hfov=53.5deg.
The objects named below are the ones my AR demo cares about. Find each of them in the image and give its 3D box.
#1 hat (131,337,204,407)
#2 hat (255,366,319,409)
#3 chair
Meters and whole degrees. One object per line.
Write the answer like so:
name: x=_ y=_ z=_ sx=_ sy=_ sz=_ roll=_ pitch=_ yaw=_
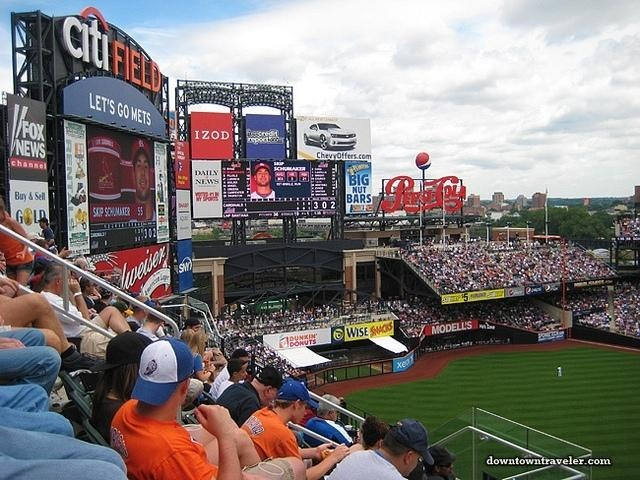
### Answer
hat: x=-1.758 y=1.440 z=7.342 sx=0.528 sy=0.413 sz=0.803 roll=13 pitch=39 yaw=8
hat: x=-0.437 y=2.154 z=9.044 sx=0.778 sy=0.285 sz=0.495 roll=24 pitch=14 yaw=-23
chair: x=-2.945 y=2.199 z=8.370 sx=1.334 sy=0.568 sz=1.063 roll=15 pitch=2 yaw=37
